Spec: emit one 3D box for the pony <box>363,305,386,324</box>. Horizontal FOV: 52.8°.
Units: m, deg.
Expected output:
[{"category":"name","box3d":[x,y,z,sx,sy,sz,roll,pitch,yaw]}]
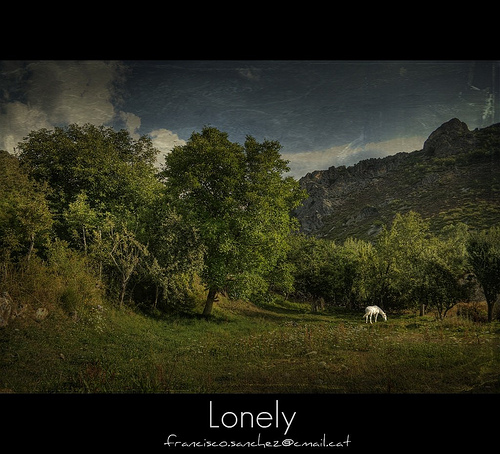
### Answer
[{"category":"pony","box3d":[3.786,2.695,15.623,0.458,0.544,0.809,4,-4,-29]}]
